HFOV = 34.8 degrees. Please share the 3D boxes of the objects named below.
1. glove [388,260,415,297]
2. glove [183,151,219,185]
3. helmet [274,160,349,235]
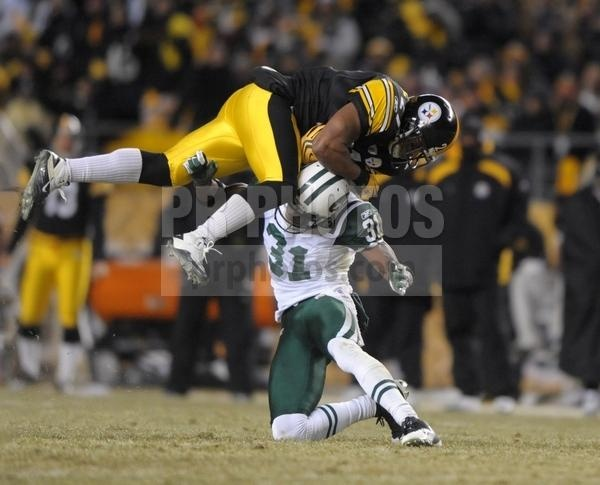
[{"bbox_3d":[0.664,0.208,6.017,0.086,0.220,0.162,-10,-29,-52],"label":"glove"},{"bbox_3d":[-0.580,-0.439,5.641,0.150,0.093,0.216,-32,-24,1],"label":"glove"},{"bbox_3d":[0.097,-0.264,5.642,0.396,0.415,0.204,2,-2,-1],"label":"helmet"}]
